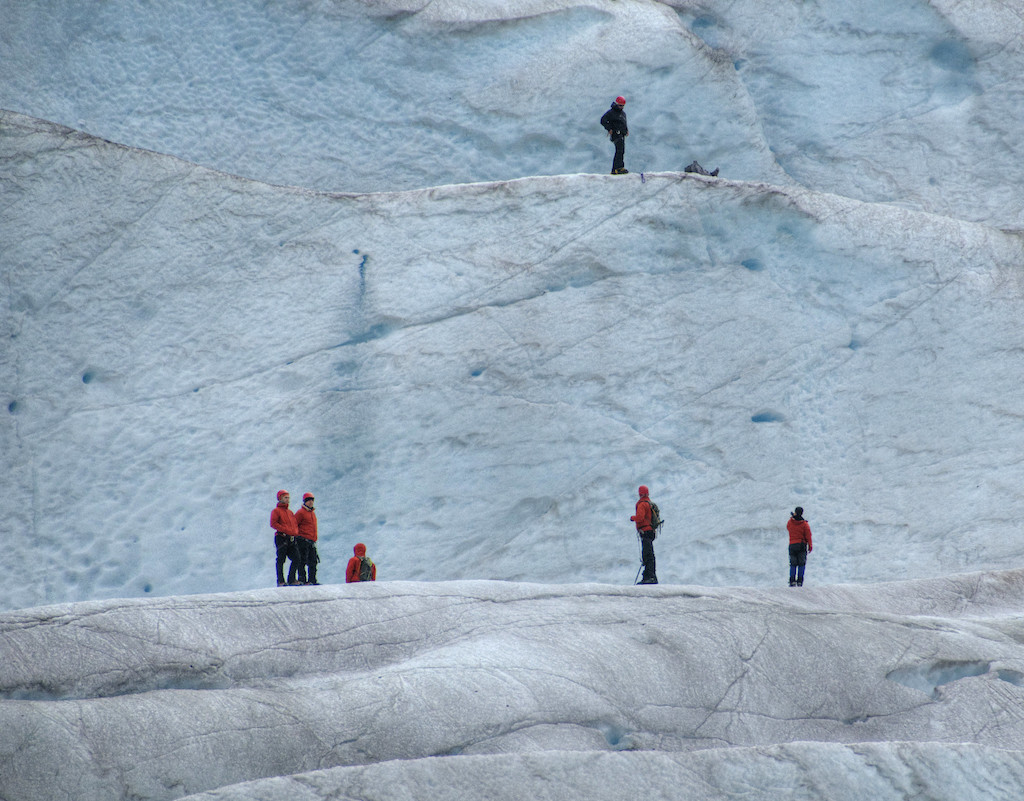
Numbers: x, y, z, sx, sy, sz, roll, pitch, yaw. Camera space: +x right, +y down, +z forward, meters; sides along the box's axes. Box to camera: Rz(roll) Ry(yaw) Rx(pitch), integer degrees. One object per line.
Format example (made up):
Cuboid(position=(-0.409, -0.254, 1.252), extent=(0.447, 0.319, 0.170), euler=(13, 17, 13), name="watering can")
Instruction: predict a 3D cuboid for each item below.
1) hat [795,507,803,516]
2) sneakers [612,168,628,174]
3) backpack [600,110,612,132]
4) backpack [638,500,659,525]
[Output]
Cuboid(position=(4.351, 1.651, 34.749), extent=(0.168, 0.129, 0.178), euler=(5, 3, 1), name="hat")
Cuboid(position=(1.828, -3.808, 38.482), extent=(0.117, 0.119, 0.328), euler=(1, 1, -38), name="sneakers")
Cuboid(position=(1.640, -4.653, 38.499), extent=(0.313, 0.309, 0.120), euler=(2, 1, 24), name="backpack")
Cuboid(position=(2.047, 1.659, 34.404), extent=(0.291, 0.350, 0.463), euler=(3, 3, 31), name="backpack")
